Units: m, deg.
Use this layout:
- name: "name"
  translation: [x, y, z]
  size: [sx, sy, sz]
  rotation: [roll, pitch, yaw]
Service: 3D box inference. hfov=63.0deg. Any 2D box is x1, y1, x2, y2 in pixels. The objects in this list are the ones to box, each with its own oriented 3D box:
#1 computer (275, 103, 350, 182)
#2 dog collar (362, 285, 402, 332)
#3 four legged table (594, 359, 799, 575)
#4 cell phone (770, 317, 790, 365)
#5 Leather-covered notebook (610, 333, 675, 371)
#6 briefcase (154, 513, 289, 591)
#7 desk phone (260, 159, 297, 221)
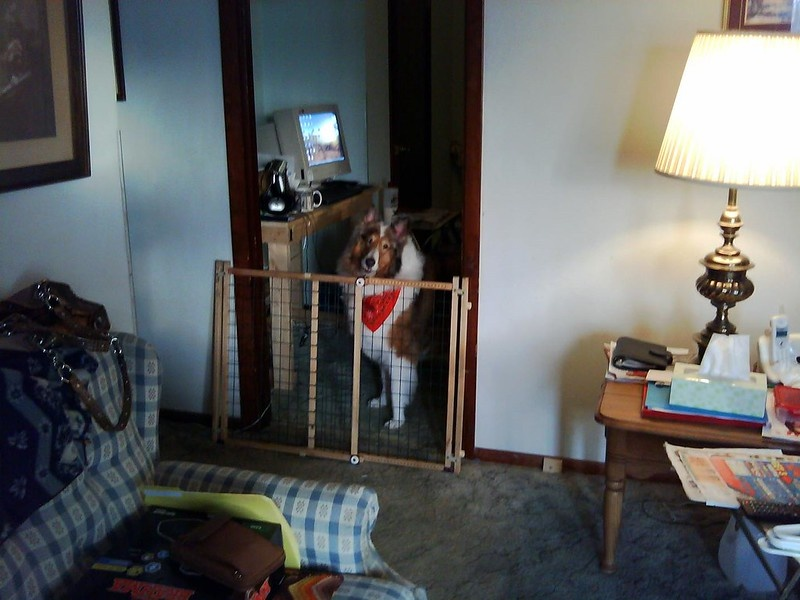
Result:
- name: "computer"
  translation: [-0.670, -1.126, 4.878]
  size: [0.303, 0.551, 0.593]
  rotation: [-8, 9, 32]
- name: "dog collar"
  translation: [-0.094, 0.047, 3.561]
  size: [0.057, 0.204, 0.245]
  rotation: [4, -5, -35]
- name: "four legged table"
  translation: [1.002, 0.658, 2.335]
  size: [0.590, 0.560, 0.535]
  rotation: [0, 15, 4]
- name: "cell phone"
  translation: [1.469, 0.165, 2.507]
  size: [0.069, 0.232, 0.049]
  rotation: [-5, 17, 18]
- name: "Leather-covered notebook"
  translation: [1.000, 0.226, 2.688]
  size: [0.145, 0.059, 0.162]
  rotation: [7, 19, 14]
- name: "briefcase"
  translation: [-0.503, 0.728, 1.892]
  size: [0.218, 0.085, 0.172]
  rotation: [20, 30, 27]
- name: "desk phone"
  translation: [-0.749, -0.543, 3.946]
  size: [0.185, 0.379, 0.410]
  rotation: [-5, -28, -11]
